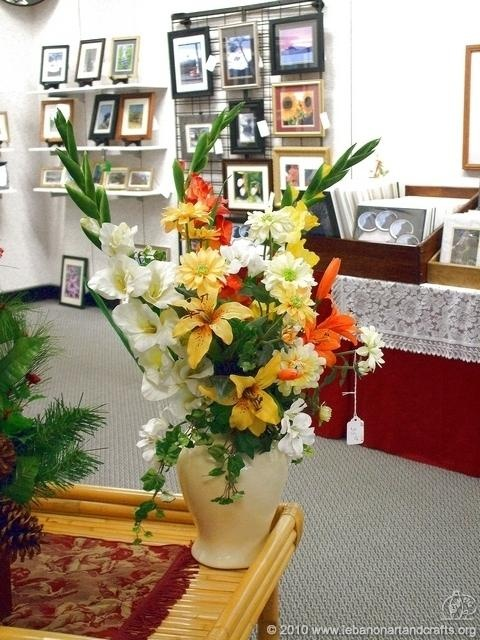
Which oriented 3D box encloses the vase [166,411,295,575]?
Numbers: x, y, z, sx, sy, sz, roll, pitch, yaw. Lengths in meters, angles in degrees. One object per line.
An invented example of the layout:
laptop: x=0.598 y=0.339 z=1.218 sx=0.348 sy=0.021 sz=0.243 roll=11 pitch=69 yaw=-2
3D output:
vase: x=-0.015 y=0.256 z=0.660 sx=0.136 sy=0.138 sz=0.124 roll=5 pitch=-13 yaw=-2
